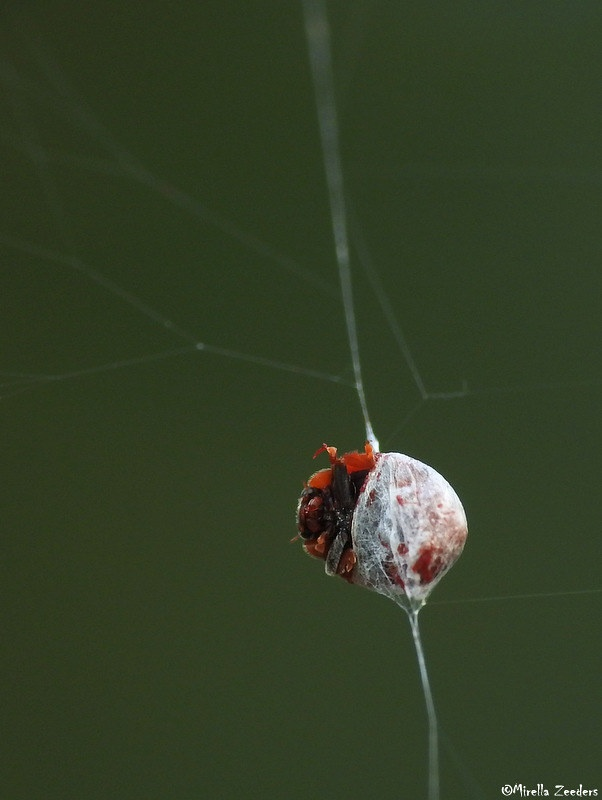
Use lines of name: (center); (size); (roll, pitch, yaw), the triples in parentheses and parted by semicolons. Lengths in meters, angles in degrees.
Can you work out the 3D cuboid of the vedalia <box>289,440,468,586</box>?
vedalia: (0.166, 0.169, 1.323); (0.191, 0.176, 0.246); (-17, 12, -31)
